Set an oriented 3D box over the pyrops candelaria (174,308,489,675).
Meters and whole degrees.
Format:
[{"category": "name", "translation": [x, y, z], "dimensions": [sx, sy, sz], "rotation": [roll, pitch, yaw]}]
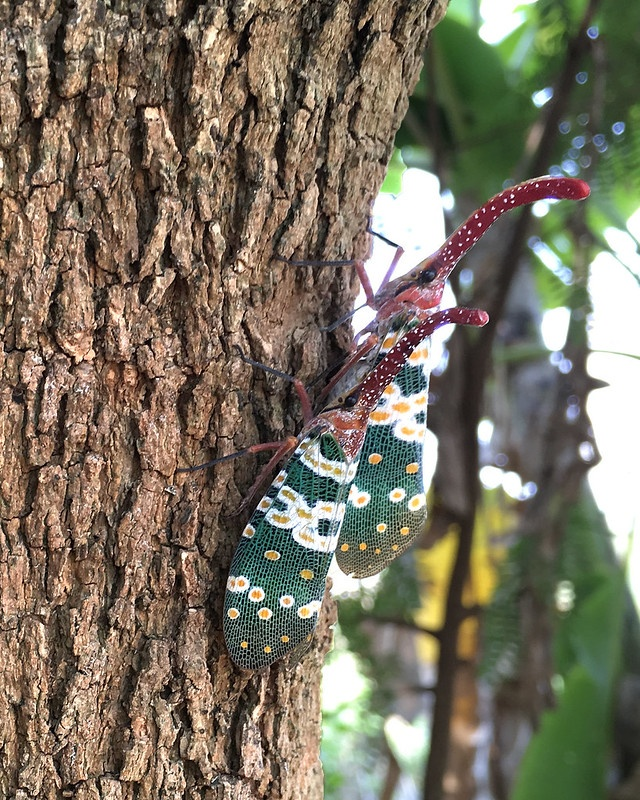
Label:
[{"category": "pyrops candelaria", "translation": [0.041, 0.180, 2.118], "dimensions": [0.434, 0.471, 0.307], "rotation": [-13, -48, 31]}]
